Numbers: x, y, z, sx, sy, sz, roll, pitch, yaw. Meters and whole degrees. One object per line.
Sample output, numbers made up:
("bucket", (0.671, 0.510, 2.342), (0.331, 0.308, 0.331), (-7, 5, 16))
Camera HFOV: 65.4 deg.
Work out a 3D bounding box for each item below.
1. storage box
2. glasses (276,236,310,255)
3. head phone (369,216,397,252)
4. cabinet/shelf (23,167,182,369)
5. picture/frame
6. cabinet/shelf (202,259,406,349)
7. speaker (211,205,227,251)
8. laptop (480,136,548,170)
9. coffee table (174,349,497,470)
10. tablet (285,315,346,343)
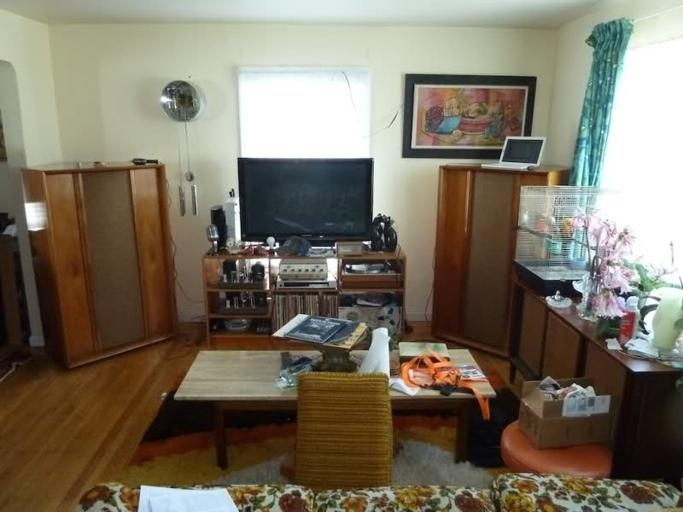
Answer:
("storage box", (1.203, 0.885, 2.929), (0.422, 0.246, 0.300), (0, 17, 0))
("glasses", (-0.402, -0.095, 4.483), (0.219, 0.109, 0.157), (0, 12, 17))
("head phone", (0.400, -0.195, 4.597), (0.217, 0.275, 0.213), (3, 13, 34))
("cabinet/shelf", (-1.850, 0.046, 4.348), (0.281, 1.535, 0.986), (11, 18, 40))
("picture/frame", (1.129, -1.248, 4.580), (0.887, 0.562, 0.016), (1, 18, 0))
("cabinet/shelf", (-0.306, 0.375, 4.689), (1.690, 0.780, 0.429), (-1, 4, -1))
("speaker", (-1.031, -0.241, 4.553), (0.144, 0.356, 0.138), (-11, 17, -33))
("laptop", (1.400, -0.840, 4.294), (0.428, 0.242, 0.463), (6, 15, 27))
("coffee table", (-0.037, 0.893, 3.543), (1.829, 0.583, 1.007), (-1, 14, -2))
("tablet", (-0.144, 0.442, 3.193), (0.276, 0.051, 0.321), (5, 15, 25))
